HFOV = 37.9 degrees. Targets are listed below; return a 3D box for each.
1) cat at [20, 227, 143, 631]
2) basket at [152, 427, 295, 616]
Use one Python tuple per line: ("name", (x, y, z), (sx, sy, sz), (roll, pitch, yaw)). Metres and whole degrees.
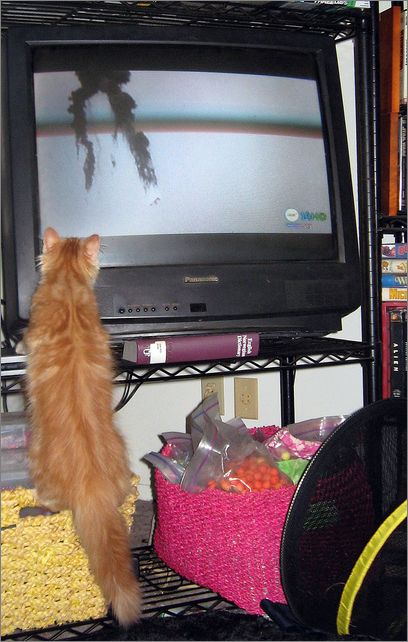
("cat", (-0.221, 0.137, 0.972), (0.166, 0.662, 0.211), (-3, -13, -21))
("basket", (0.028, 0.324, 1.038), (0.242, 0.168, 0.255), (8, -4, 26))
